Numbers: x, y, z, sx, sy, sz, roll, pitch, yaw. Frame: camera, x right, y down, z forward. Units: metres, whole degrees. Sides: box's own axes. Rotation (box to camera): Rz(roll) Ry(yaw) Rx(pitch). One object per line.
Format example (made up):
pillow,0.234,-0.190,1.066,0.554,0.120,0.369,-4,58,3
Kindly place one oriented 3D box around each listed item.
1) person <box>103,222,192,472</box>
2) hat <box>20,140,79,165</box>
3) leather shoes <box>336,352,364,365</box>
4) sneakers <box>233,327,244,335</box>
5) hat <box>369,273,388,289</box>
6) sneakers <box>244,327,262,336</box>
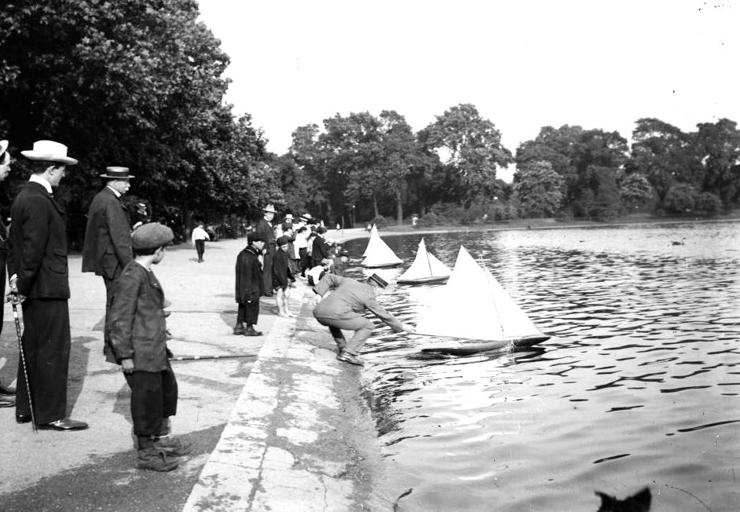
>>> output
person,-3.099,1.272,11.528,0.962,3.404,0.458,1,1,-11
hat,-4.735,-1.528,12.635,0.770,0.288,0.797,3,6,10
leather shoes,-0.413,2.133,17.103,0.610,0.228,0.215,5,9,-10
sneakers,-2.779,1.592,17.580,0.210,0.180,0.124,1,0,-9
hat,0.210,0.571,17.338,0.351,0.116,0.328,29,-1,-20
sneakers,-2.459,1.622,17.701,0.396,0.154,0.151,-2,9,-39
